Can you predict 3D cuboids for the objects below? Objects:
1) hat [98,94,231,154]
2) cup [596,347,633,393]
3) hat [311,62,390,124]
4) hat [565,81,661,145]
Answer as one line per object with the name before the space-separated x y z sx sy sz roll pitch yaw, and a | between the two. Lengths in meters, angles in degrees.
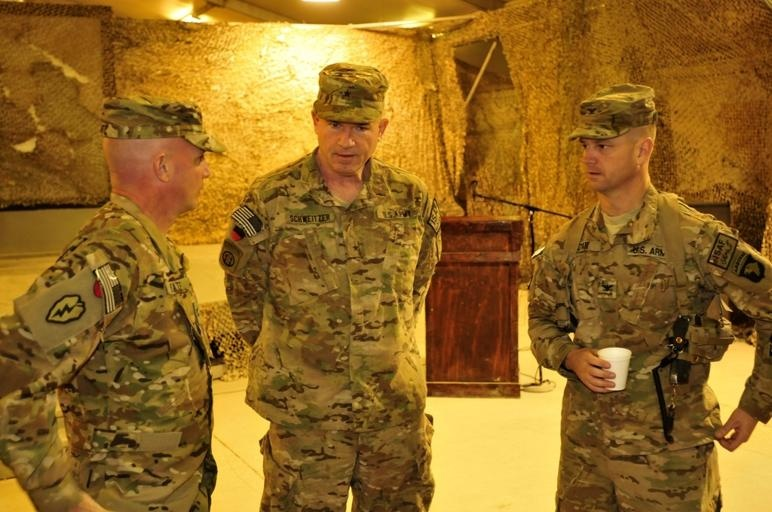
hat | -0.844 -0.532 2.258 0.476 0.124 0.240 4 32 -7
cup | 0.895 0.443 2.261 0.204 0.148 0.171 0 -1 2
hat | -0.153 -0.739 2.525 0.351 0.347 0.135 7 -36 -19
hat | 1.002 -0.600 2.508 0.388 0.123 0.273 -18 18 -23
